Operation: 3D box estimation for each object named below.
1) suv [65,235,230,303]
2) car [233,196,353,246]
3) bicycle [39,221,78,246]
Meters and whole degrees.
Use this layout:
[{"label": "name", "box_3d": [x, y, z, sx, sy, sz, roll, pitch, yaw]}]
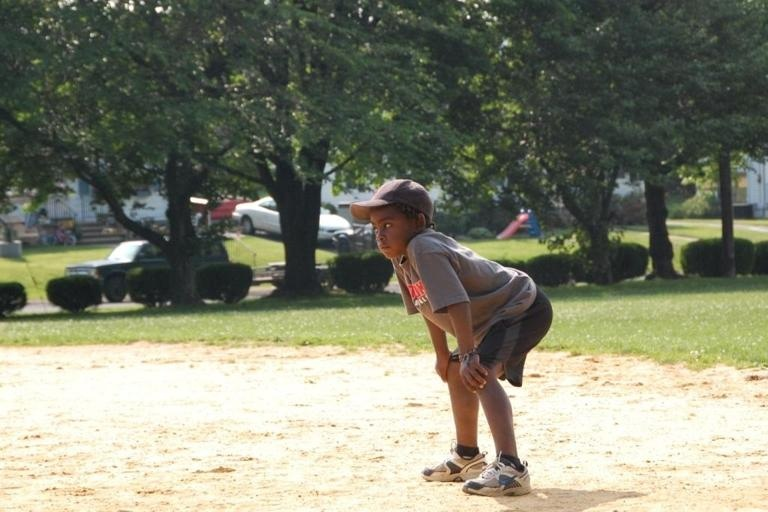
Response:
[{"label": "suv", "box_3d": [-8.982, 0.443, 59.953, 5.516, 2.138, 2.163, 0, 0, -26]}, {"label": "car", "box_3d": [-3.967, -1.410, 69.490, 5.192, 1.458, 1.976, -6, -3, 38]}, {"label": "bicycle", "box_3d": [-12.888, -0.882, 68.625, 1.425, 0.826, 0.937, 6, -2, -17]}]
